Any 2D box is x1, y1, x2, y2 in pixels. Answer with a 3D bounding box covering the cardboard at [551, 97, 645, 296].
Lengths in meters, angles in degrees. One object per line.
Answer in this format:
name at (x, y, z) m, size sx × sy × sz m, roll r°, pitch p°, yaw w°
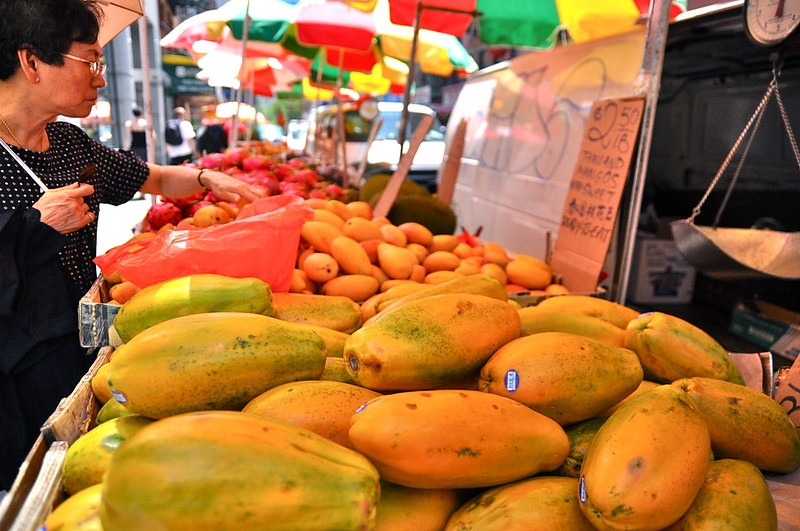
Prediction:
cardboard at (1.152, -0.439, 3.383) m, size 0.331 × 1.135 × 0.696 m, roll 14°, pitch 20°, yaw 19°
